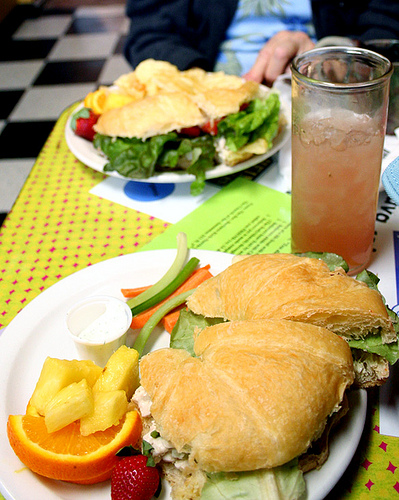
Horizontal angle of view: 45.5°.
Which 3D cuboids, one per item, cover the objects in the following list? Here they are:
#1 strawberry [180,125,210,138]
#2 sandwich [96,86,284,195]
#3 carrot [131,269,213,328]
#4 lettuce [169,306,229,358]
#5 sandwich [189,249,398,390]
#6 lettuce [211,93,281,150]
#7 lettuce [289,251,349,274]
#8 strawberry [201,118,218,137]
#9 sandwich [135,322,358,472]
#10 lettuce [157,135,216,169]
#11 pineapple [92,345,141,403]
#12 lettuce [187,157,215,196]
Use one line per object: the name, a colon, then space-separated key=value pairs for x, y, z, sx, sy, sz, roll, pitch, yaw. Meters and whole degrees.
strawberry: x=-0.013 y=-0.259 z=1.039 sx=0.046 sy=0.013 sz=0.030 roll=4 pitch=25 yaw=5
sandwich: x=-0.021 y=-0.250 z=1.065 sx=0.318 sy=0.084 sz=0.285 roll=-1 pitch=32 yaw=0
carrot: x=-0.022 y=0.062 z=0.834 sx=0.205 sy=0.035 sz=0.054 roll=-34 pitch=14 yaw=-37
lettuce: x=-0.010 y=0.104 z=0.635 sx=0.074 sy=0.031 sz=0.067 roll=29 pitch=60 yaw=29
sandwich: x=0.108 y=0.069 z=0.554 sx=0.210 sy=0.070 sz=0.201 roll=-15 pitch=32 yaw=-22
lettuce: x=0.102 y=-0.318 z=1.090 sx=0.150 sy=0.061 sz=0.178 roll=-16 pitch=42 yaw=0
lettuce: x=0.174 y=0.011 z=0.697 sx=0.066 sy=0.035 sz=0.055 roll=-2 pitch=15 yaw=-19
strawberry: x=0.027 y=-0.266 z=1.028 sx=0.041 sy=0.013 sz=0.030 roll=-11 pitch=30 yaw=-6
sandwich: x=0.058 y=0.170 z=0.503 sx=0.208 sy=0.073 sz=0.155 roll=-9 pitch=28 yaw=2
lettuce: x=-0.027 y=-0.202 z=1.033 sx=0.100 sy=0.040 sz=0.071 roll=-12 pitch=19 yaw=19
pineapple: x=-0.101 y=0.154 z=0.610 sx=0.087 sy=0.060 sz=0.079 roll=-4 pitch=22 yaw=-12
lettuce: x=0.001 y=-0.154 z=0.993 sx=0.055 sy=0.074 sz=0.021 roll=-5 pitch=19 yaw=1
